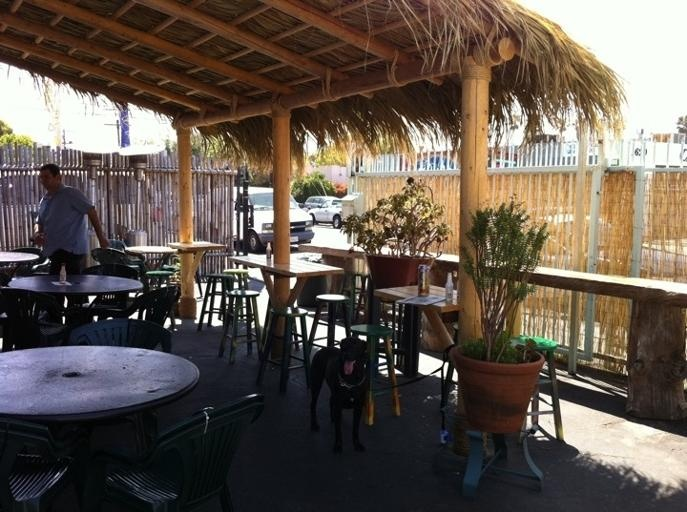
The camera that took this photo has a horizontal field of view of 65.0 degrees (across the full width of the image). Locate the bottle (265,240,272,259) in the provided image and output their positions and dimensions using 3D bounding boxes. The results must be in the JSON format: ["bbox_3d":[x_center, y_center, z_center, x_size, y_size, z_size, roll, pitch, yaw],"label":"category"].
[{"bbox_3d":[-0.976,-0.075,7.081,0.072,0.223,0.340,-1,7,-9],"label":"bottle"}]

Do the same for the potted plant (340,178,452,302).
[{"bbox_3d":[0.571,-0.087,6.640,1.160,1.590,1.296,-1,-6,-2],"label":"potted plant"}]

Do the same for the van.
[{"bbox_3d":[-1.798,-1.140,16.395,1.679,1.731,2.984,-3,5,-29],"label":"van"}]

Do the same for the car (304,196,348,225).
[{"bbox_3d":[-0.963,-2.303,27.398,1.346,1.328,2.747,-3,5,-27],"label":"car"}]

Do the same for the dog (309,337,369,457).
[{"bbox_3d":[-0.013,1.135,4.733,0.367,0.971,0.616,-3,7,-30],"label":"dog"}]

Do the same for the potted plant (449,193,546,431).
[{"bbox_3d":[1.175,0.558,4.117,0.669,1.939,0.668,2,6,21],"label":"potted plant"}]

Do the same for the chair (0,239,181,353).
[{"bbox_3d":[-2.688,0.480,5.497,1.248,0.720,1.260,-8,18,-29],"label":"chair"}]

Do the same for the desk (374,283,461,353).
[{"bbox_3d":[0.767,0.656,5.672,0.448,0.473,0.866,-9,15,-24],"label":"desk"}]
